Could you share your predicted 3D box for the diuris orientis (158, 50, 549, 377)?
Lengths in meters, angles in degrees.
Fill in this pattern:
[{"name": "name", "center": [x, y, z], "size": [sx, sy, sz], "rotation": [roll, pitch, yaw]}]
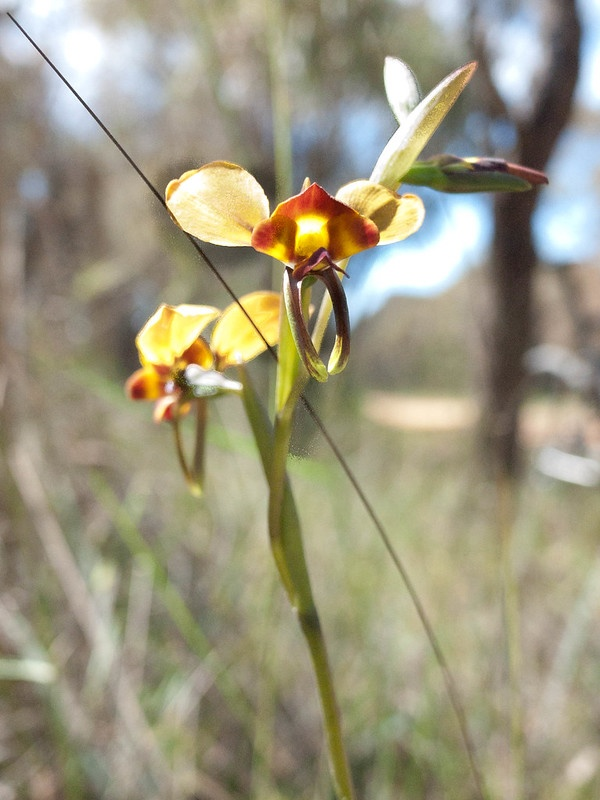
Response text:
[{"name": "diuris orientis", "center": [0.014, -0.070, 0.424], "size": [0.146, 0.091, 0.132], "rotation": [-4, -10, 17]}]
